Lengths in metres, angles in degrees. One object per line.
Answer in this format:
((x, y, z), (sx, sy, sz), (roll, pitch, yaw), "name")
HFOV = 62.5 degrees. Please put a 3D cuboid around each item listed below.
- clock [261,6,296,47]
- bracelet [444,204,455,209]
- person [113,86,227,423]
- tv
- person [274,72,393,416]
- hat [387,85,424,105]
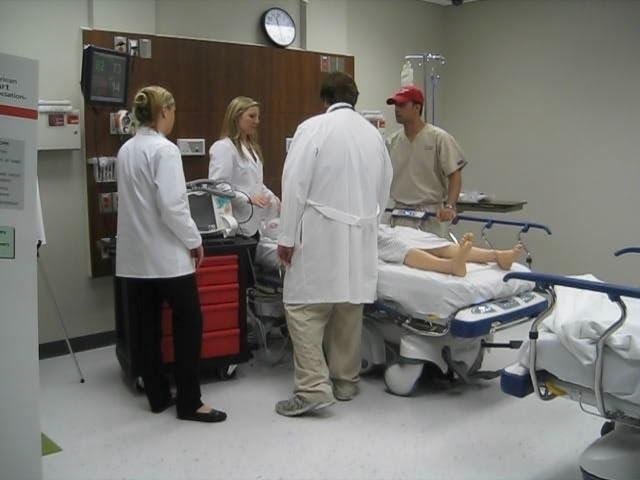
((-0.376, -1.898, 4.705), (0.060, 0.399, 0.347), (-6, -17, 42), "clock")
((0.958, -0.247, 3.911), (0.044, 0.038, 0.047), (-3, -1, -7), "bracelet")
((-0.845, 0.103, 2.995), (0.574, 1.875, 0.291), (5, 12, 26), "person")
((-1.545, -1.187, 3.804), (0.113, 0.446, 0.372), (11, 11, 39), "tv")
((0.054, 0.004, 3.178), (0.479, 1.985, 0.762), (8, 14, 36), "person")
((0.655, -1.087, 4.033), (0.208, 0.130, 0.158), (-3, 15, -16), "hat")
